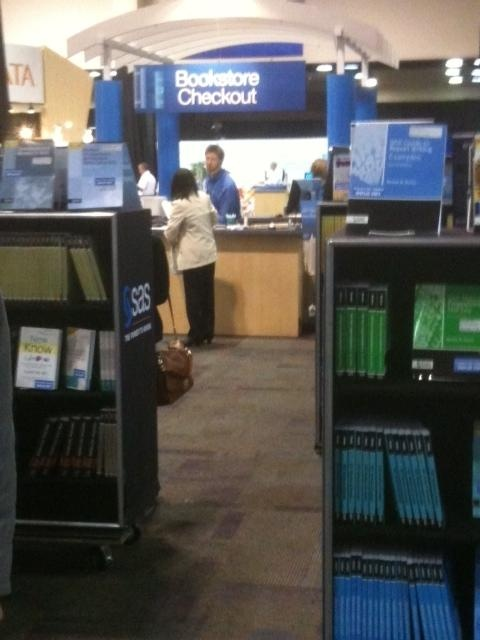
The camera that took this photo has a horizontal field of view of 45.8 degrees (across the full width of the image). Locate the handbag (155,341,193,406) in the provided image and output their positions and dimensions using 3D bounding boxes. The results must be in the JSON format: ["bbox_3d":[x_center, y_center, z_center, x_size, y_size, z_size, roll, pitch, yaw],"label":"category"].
[{"bbox_3d":[-0.356,0.281,3.235,0.191,0.493,0.393,-1,4,5],"label":"handbag"}]

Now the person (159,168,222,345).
[{"bbox_3d":[-0.503,-0.606,5.884,0.509,1.820,0.447,-2,5,-11],"label":"person"}]
